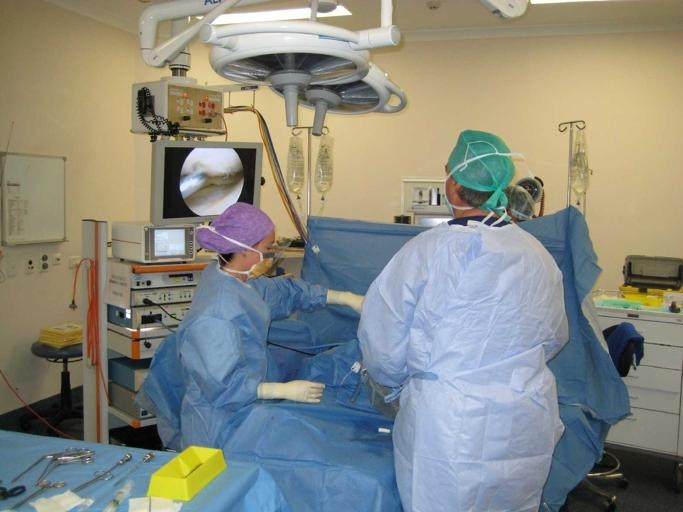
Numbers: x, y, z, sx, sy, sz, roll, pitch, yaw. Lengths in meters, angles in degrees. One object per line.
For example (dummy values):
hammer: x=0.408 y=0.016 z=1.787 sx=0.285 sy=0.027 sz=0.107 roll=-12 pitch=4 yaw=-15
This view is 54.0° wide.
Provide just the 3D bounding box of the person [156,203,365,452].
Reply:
person: x=-0.355 y=0.290 z=3.064 sx=0.570 sy=1.058 sz=0.712 roll=3 pitch=7 yaw=31

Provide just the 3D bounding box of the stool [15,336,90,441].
stool: x=-1.812 y=0.850 z=4.591 sx=0.574 sy=0.722 sz=0.545 roll=2 pitch=1 yaw=2

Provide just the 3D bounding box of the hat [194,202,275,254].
hat: x=-0.470 y=-0.112 z=3.004 sx=0.240 sy=0.106 sz=0.253 roll=-14 pitch=17 yaw=-1

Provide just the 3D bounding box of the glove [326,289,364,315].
glove: x=0.024 y=0.225 z=3.341 sx=0.077 sy=0.091 sz=0.281 roll=1 pitch=-5 yaw=-43

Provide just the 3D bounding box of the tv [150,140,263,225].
tv: x=-0.739 y=-0.396 z=3.600 sx=0.481 sy=0.328 sz=0.054 roll=-6 pitch=13 yaw=-40

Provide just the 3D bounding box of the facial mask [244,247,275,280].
facial mask: x=-0.373 y=0.030 z=3.129 sx=0.111 sy=0.105 sz=0.119 roll=1 pitch=8 yaw=3

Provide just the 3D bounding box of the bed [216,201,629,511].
bed: x=0.443 y=0.407 z=3.896 sx=1.447 sy=1.845 sz=1.742 roll=0 pitch=-6 yaw=-1

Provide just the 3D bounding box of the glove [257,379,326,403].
glove: x=-0.218 y=0.593 z=2.942 sx=0.304 sy=0.109 sz=0.077 roll=4 pitch=-6 yaw=-18
